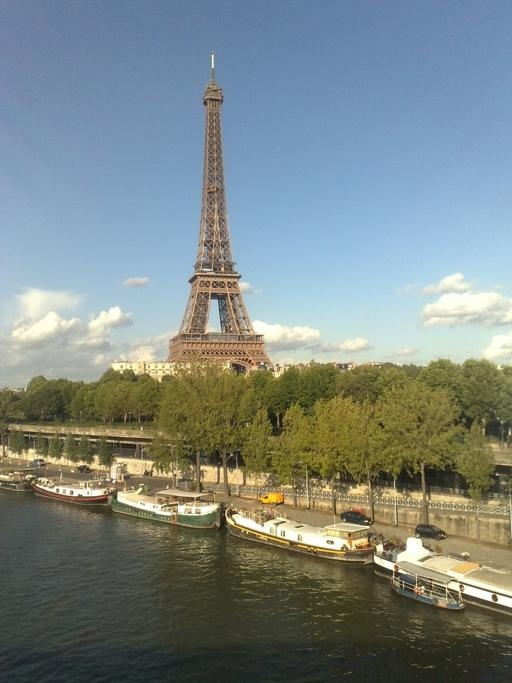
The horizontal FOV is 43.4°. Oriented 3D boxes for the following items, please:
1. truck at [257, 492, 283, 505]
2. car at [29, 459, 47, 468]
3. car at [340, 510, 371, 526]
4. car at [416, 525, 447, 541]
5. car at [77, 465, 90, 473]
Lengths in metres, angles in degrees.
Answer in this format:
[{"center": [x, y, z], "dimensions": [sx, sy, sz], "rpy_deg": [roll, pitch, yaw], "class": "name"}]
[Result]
[{"center": [1.327, 15.174, 62.489], "dimensions": [2.634, 1.080, 1.598], "rpy_deg": [0, 2, 35], "class": "truck"}, {"center": [-34.446, 19.111, 101.047], "dimensions": [2.273, 1.138, 1.336], "rpy_deg": [1, -2, 40], "class": "car"}, {"center": [8.331, 14.658, 53.544], "dimensions": [2.202, 0.792, 0.933], "rpy_deg": [-7, -7, 43], "class": "car"}, {"center": [13.216, 14.426, 48.822], "dimensions": [1.813, 0.839, 1.073], "rpy_deg": [-6, -4, 34], "class": "car"}, {"center": [-24.859, 18.205, 92.017], "dimensions": [0.904, 0.719, 1.529], "rpy_deg": [1, 6, -44], "class": "car"}]
